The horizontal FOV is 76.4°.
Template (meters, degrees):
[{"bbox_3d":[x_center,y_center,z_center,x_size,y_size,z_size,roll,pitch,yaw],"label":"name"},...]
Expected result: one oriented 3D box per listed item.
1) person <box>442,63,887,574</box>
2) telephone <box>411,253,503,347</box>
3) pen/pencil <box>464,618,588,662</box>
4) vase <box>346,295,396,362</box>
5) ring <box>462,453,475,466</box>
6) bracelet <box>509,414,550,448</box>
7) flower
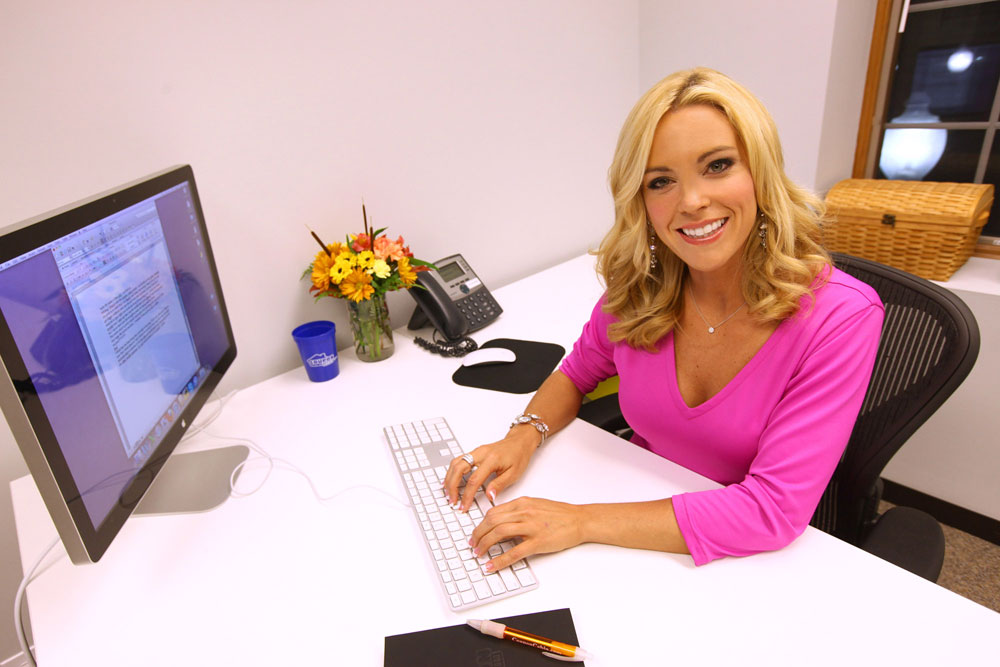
[{"bbox_3d":[0.405,-0.092,1.590,1.001,1.004,0.926,-10,15,-17],"label":"person"},{"bbox_3d":[-0.138,-0.124,2.104,0.193,0.216,0.301,12,25,28],"label":"telephone"},{"bbox_3d":[0.054,0.585,1.205,0.145,0.022,0.026,13,26,15],"label":"pen/pencil"},{"bbox_3d":[-0.398,-0.011,1.943,0.119,0.198,0.116,-19,29,-24],"label":"vase"},{"bbox_3d":[-0.071,0.298,1.491,0.019,0.010,0.027,-23,41,-17],"label":"ring"},{"bbox_3d":[0.093,0.227,1.640,0.091,0.094,0.060,26,56,37],"label":"bracelet"},{"bbox_3d":[-0.386,-0.199,1.867,0.307,0.199,0.307,26,39,31],"label":"flower"}]
